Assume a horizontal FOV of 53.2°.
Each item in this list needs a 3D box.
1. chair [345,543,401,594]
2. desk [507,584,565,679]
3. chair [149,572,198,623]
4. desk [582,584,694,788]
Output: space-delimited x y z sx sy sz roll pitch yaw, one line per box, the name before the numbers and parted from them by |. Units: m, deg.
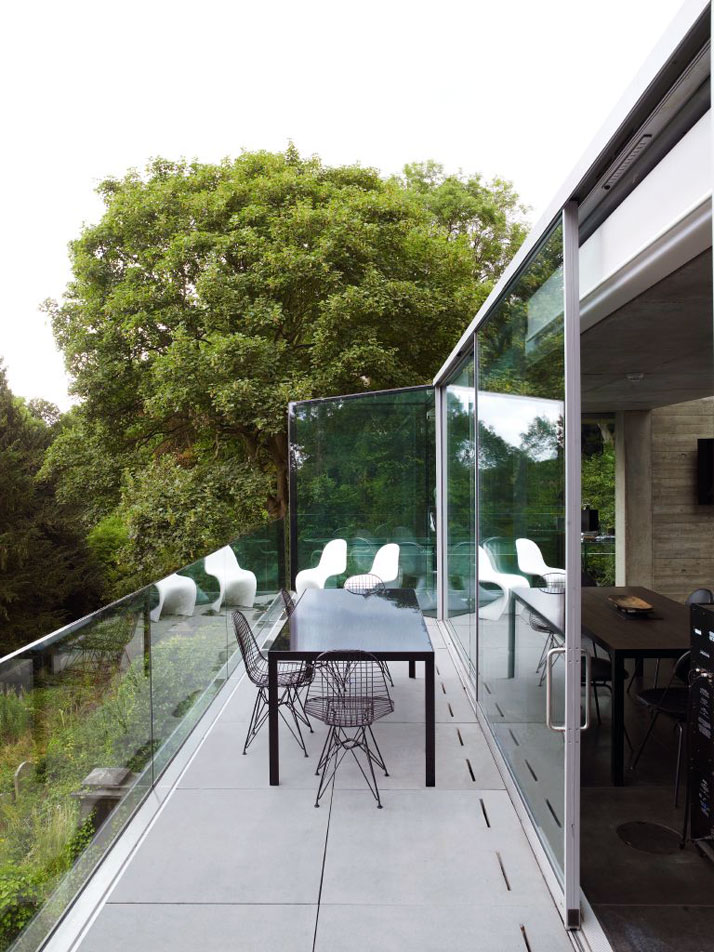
chair | 0.205 0.923 7.072 0.376 0.404 0.554 -4 -3 43
desk | 0.721 0.626 2.876 0.180 0.291 0.600 -1 1 7
chair | -0.966 0.660 3.873 0.220 0.260 0.271 -2 2 22
desk | 1.474 1.132 3.790 0.340 0.392 1.068 -2 4 0
